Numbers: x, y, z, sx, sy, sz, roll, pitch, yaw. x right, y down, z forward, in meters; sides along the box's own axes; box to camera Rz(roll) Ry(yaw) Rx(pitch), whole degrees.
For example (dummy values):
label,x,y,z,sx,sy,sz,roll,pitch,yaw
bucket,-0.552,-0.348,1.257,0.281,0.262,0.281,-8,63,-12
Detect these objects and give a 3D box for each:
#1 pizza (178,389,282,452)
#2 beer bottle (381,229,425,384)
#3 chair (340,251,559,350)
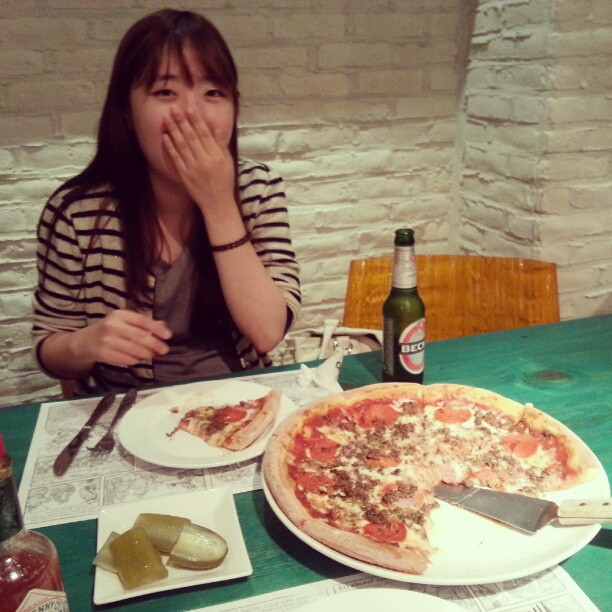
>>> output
label,x,y,z,sx,sy,sz,roll,pitch,yaw
pizza,-0.126,0.172,0.935,0.157,0.025,0.172,8,25,28
beer bottle,0.153,0.009,0.920,0.069,0.265,0.121,2,14,10
chair,0.360,-0.042,1.543,0.393,0.380,0.289,-2,13,-2
